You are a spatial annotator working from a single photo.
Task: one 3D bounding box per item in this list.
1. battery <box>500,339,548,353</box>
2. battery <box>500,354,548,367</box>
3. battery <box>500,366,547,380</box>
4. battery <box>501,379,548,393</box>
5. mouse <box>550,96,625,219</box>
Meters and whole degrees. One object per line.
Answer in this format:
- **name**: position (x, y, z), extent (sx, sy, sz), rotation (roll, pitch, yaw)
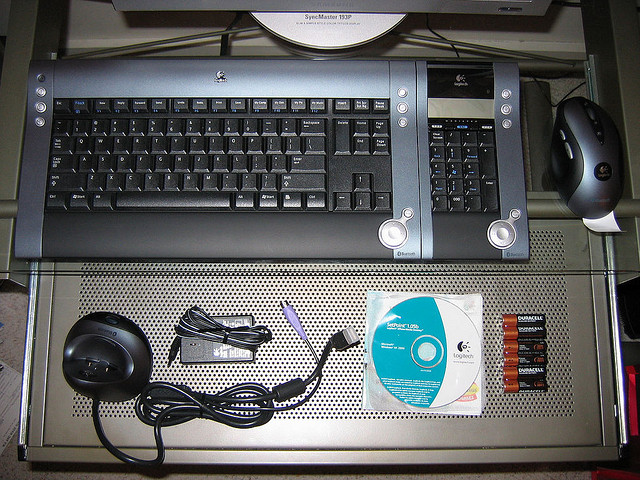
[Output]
- **battery**: position (0.346, 0.181, 0.929), extent (0.081, 0.025, 0.018), rotation (-7, 38, 4)
- **battery**: position (0.345, 0.204, 0.925), extent (0.079, 0.024, 0.018), rotation (-8, 38, 4)
- **battery**: position (0.343, 0.224, 0.922), extent (0.078, 0.023, 0.017), rotation (-8, 38, 4)
- **battery**: position (0.343, 0.245, 0.920), extent (0.077, 0.025, 0.015), rotation (-7, 38, 4)
- **mouse**: position (0.476, -0.158, 0.969), extent (0.126, 0.078, 0.233), rotation (2, 56, 4)
